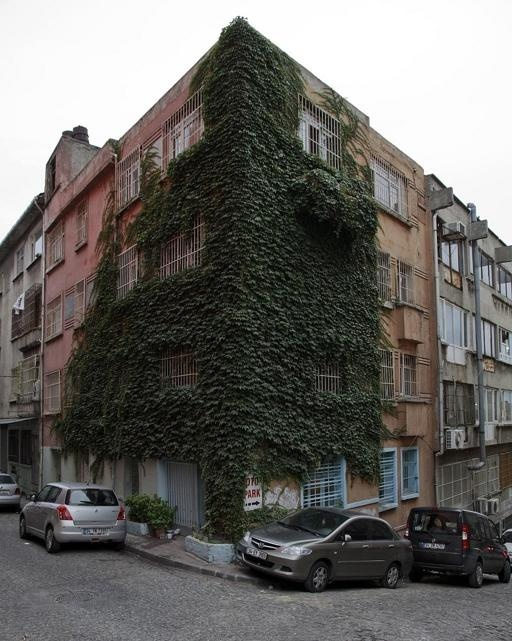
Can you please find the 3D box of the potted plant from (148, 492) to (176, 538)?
[{"bbox_3d":[-2.107,4.387,14.899,0.603,0.871,0.702,2,-15,-8],"label":"potted plant"}]

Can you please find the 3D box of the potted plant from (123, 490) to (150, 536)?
[{"bbox_3d":[-2.698,4.427,15.332,0.618,1.194,1.111,1,-6,-21],"label":"potted plant"}]

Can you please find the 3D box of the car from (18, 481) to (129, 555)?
[{"bbox_3d":[-3.766,3.962,13.523,1.137,1.046,2.065,10,-16,-28],"label":"car"}]

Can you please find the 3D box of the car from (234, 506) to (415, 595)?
[{"bbox_3d":[1.135,3.771,10.992,2.299,1.040,1.391,21,-26,-35],"label":"car"}]

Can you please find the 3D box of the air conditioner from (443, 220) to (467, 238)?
[{"bbox_3d":[6.922,-3.094,23.382,0.723,0.568,0.487,1,-3,24],"label":"air conditioner"}]

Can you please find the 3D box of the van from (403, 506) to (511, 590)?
[{"bbox_3d":[4.349,4.815,14.524,1.394,1.406,2.669,-8,-17,33],"label":"van"}]

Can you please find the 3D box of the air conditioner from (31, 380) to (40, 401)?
[{"bbox_3d":[-8.498,2.756,25.960,0.247,0.884,1.275,5,-17,-21],"label":"air conditioner"}]
